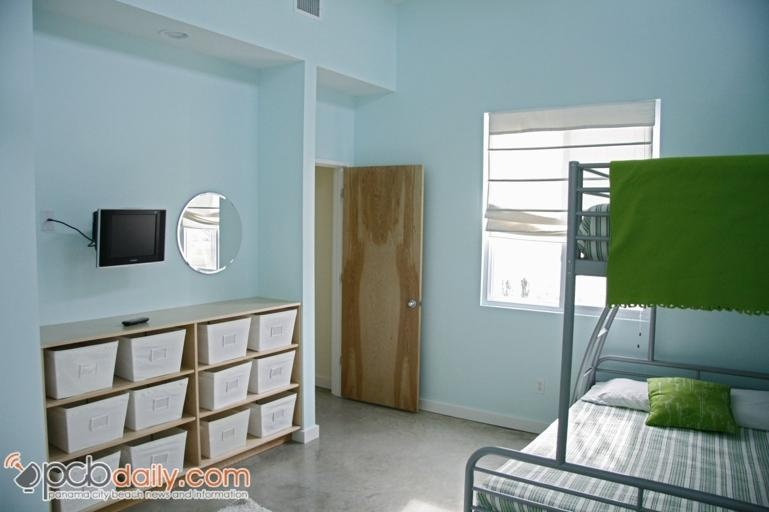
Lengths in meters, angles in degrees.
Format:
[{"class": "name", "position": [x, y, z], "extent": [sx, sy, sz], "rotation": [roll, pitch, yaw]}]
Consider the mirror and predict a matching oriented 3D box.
[{"class": "mirror", "position": [-1.505, -0.216, 4.501], "extent": [0.045, 0.842, 0.708], "rotation": [5, 5, 44]}]
